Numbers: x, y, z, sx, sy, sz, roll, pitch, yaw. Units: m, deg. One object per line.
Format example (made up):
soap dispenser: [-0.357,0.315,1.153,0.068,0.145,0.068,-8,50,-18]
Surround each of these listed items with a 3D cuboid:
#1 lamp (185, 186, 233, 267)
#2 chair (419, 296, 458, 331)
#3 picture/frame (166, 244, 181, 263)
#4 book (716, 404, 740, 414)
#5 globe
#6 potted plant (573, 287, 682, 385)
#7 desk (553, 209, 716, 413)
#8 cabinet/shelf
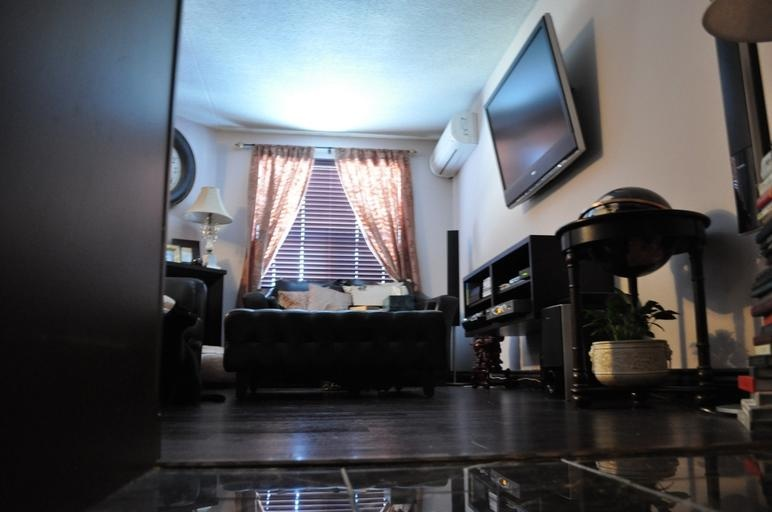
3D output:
lamp: [-1.739,-0.276,5.705,0.489,0.767,0.499,-5,-10,22]
chair: [0.501,0.456,4.880,0.355,0.306,0.337,8,-15,-11]
picture/frame: [-1.832,-0.012,4.969,0.192,0.170,0.174,1,1,-13]
book: [1.178,0.530,1.995,0.092,0.011,0.122,-3,-5,22]
globe: [1.198,0.171,2.560,0.733,0.983,0.691,0,-3,-3]
potted plant: [1.042,0.357,2.526,0.436,0.366,0.403,-2,-9,21]
desk: [1.065,0.291,2.622,0.759,0.863,0.779,-10,-12,38]
cabinet/shelf: [0.876,0.293,4.151,0.475,0.493,1.540,0,-12,-8]
